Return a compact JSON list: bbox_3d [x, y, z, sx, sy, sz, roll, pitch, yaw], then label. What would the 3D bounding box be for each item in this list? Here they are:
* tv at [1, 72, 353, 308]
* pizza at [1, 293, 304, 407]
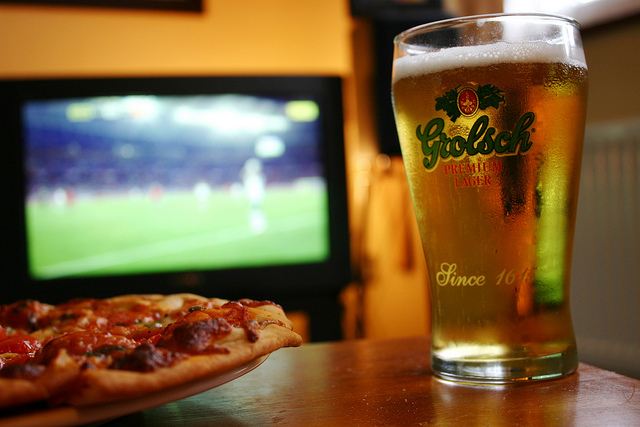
[{"bbox_3d":[-0.335,-0.061,1.601,1.092,0.662,0.538,0,-2,-4],"label":"tv"},{"bbox_3d":[-0.223,0.124,0.667,0.284,0.061,0.387,-6,4,-38],"label":"pizza"}]
